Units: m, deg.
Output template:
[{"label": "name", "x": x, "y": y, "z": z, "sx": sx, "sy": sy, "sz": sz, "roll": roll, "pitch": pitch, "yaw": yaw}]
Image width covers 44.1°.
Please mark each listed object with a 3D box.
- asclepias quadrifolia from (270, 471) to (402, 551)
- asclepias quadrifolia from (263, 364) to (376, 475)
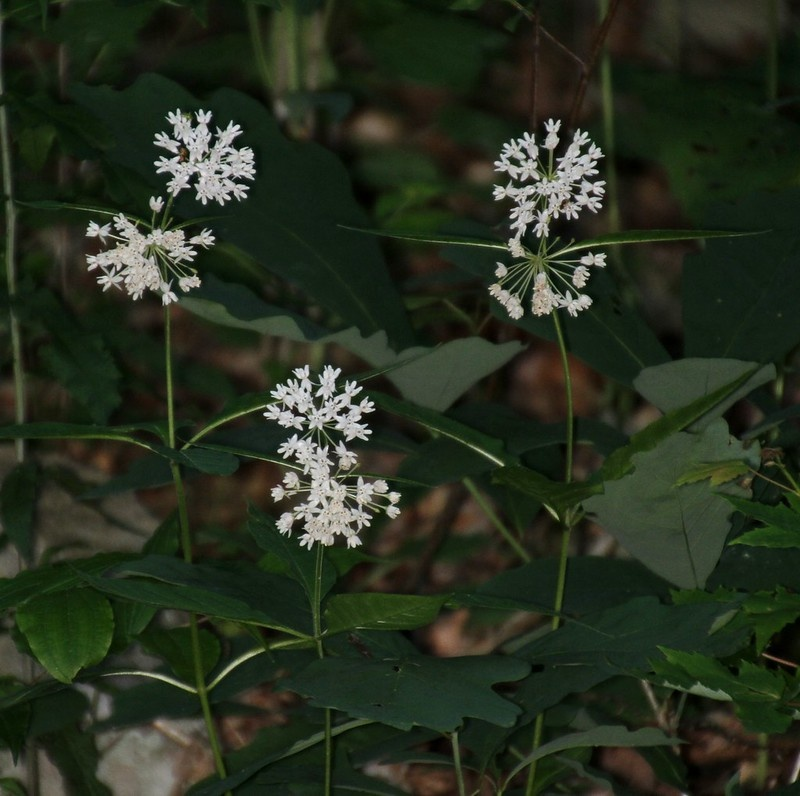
[{"label": "asclepias quadrifolia", "x": -0.025, "y": 0.091, "z": 0.901, "sx": 0.157, "sy": 0.085, "sz": 0.044, "roll": 0, "pitch": 24, "yaw": 6}, {"label": "asclepias quadrifolia", "x": -0.070, "y": 0.018, "z": 0.934, "sx": 0.164, "sy": 0.045, "sz": 0.105, "roll": -6, "pitch": 78, "yaw": 5}]
